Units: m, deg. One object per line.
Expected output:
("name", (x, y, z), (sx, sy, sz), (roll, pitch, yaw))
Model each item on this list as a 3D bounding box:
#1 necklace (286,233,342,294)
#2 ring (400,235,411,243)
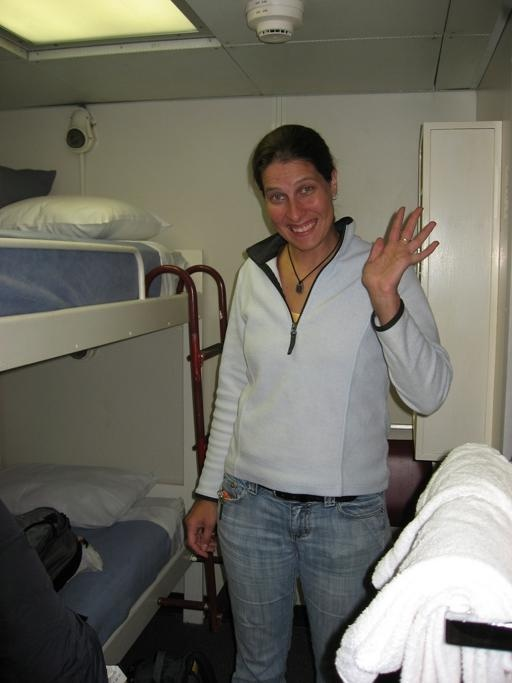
("necklace", (0.120, -0.177, 1.261), (0.101, 0.133, 0.031), (15, 13, 25))
("ring", (0.304, -0.206, 1.108), (0.015, 0.011, 0.015), (1, -5, 0))
